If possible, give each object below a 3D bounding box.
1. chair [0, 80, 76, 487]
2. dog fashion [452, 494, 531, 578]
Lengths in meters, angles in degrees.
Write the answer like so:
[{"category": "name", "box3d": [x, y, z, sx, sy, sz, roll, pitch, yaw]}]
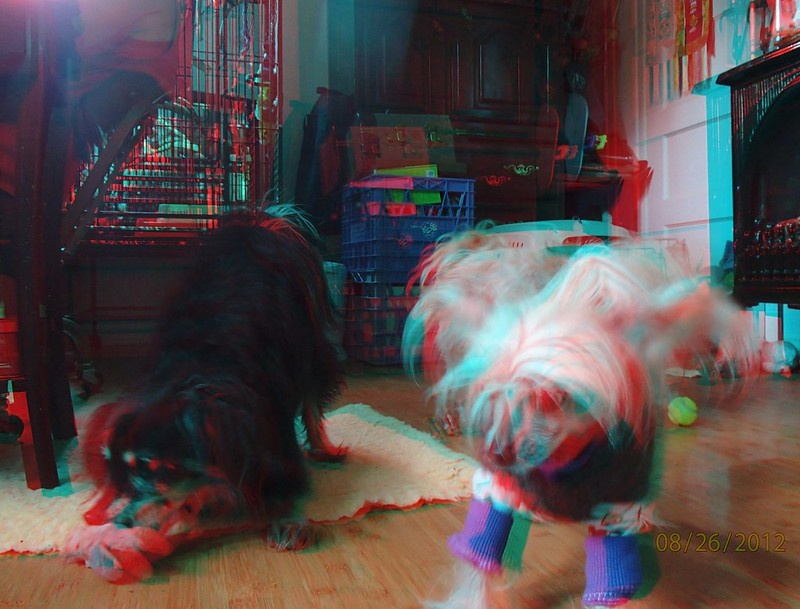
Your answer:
[{"category": "chair", "box3d": [-0.888, -0.046, 1.598, 0.158, 0.960, 0.328, -6, 13, -26]}, {"category": "dog fashion", "box3d": [0.185, 0.418, 1.186, 0.134, 0.131, 0.134, 18, -1, -36]}]
